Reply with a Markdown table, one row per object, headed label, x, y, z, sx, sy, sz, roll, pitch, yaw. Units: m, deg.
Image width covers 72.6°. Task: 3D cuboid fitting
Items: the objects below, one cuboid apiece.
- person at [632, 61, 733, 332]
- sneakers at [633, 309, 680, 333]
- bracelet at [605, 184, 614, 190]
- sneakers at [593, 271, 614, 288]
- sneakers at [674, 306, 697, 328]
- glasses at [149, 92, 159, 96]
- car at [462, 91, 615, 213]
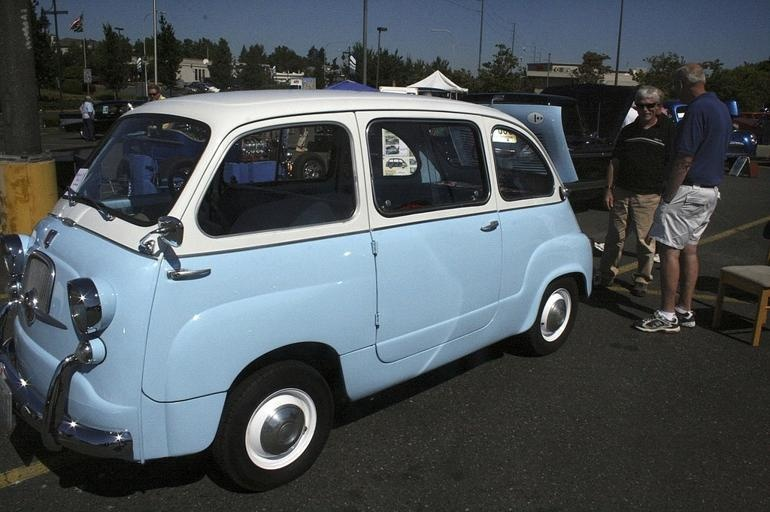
| label | x | y | z | sx | sy | sz | roll | pitch | yaw |
| --- | --- | --- | --- | --- | --- | --- | --- | --- | --- |
| person | 3.301 | -0.551 | 5.780 | 0.717 | 2.905 | 0.520 | -13 | 22 | -36 |
| sneakers | 3.150 | 0.766 | 6.145 | 0.519 | 0.289 | 0.222 | 0 | 7 | 10 |
| bracelet | 3.035 | -0.919 | 7.066 | 0.065 | 0.050 | 0.074 | 7 | -5 | -1 |
| sneakers | 3.057 | 0.321 | 7.351 | 0.257 | 0.269 | 0.192 | -5 | 17 | -15 |
| sneakers | 3.520 | 0.729 | 6.105 | 0.153 | 0.193 | 0.418 | -4 | 11 | 2 |
| glasses | -5.766 | -4.019 | 13.095 | 0.200 | 0.065 | 0.217 | 3 | 23 | 12 |
| car | 2.828 | -1.746 | 8.167 | 3.511 | 1.823 | 1.887 | -15 | 18 | -42 |
